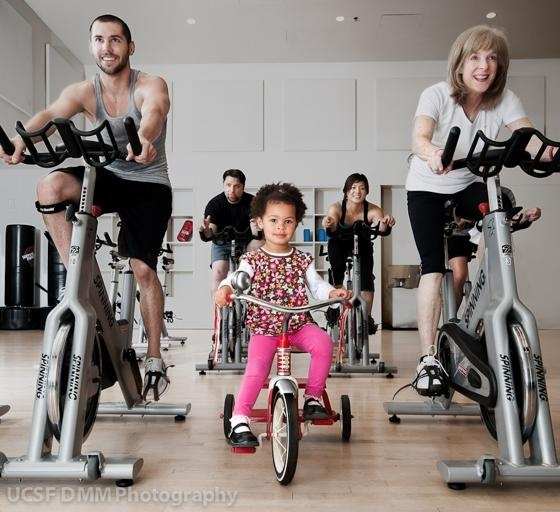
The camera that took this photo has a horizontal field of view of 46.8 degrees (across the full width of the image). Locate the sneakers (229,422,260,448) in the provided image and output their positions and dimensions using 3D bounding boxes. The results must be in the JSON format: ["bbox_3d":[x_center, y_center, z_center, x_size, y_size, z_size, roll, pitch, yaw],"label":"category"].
[{"bbox_3d":[-0.124,0.598,2.152,0.071,0.082,0.112,0,0,-26],"label":"sneakers"}]

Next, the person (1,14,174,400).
[{"bbox_3d":[-0.713,-0.180,2.563,0.547,1.627,0.804,0,0,-10],"label":"person"}]

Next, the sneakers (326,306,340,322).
[{"bbox_3d":[0.398,0.440,4.861,0.086,0.142,0.131,-1,-15,6],"label":"sneakers"}]

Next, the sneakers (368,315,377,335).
[{"bbox_3d":[0.673,0.518,4.630,0.065,0.099,0.235,-4,-31,8],"label":"sneakers"}]

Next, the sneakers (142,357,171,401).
[{"bbox_3d":[-0.528,0.527,2.744,0.108,0.211,0.200,0,0,-11],"label":"sneakers"}]

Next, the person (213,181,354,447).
[{"bbox_3d":[0.020,0.202,2.338,0.445,0.971,0.512,0,0,15],"label":"person"}]

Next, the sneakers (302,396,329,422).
[{"bbox_3d":[0.129,0.560,2.326,0.089,0.104,0.139,0,0,1],"label":"sneakers"}]

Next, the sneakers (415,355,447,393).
[{"bbox_3d":[0.588,0.475,2.578,0.088,0.158,0.218,0,0,-11],"label":"sneakers"}]
